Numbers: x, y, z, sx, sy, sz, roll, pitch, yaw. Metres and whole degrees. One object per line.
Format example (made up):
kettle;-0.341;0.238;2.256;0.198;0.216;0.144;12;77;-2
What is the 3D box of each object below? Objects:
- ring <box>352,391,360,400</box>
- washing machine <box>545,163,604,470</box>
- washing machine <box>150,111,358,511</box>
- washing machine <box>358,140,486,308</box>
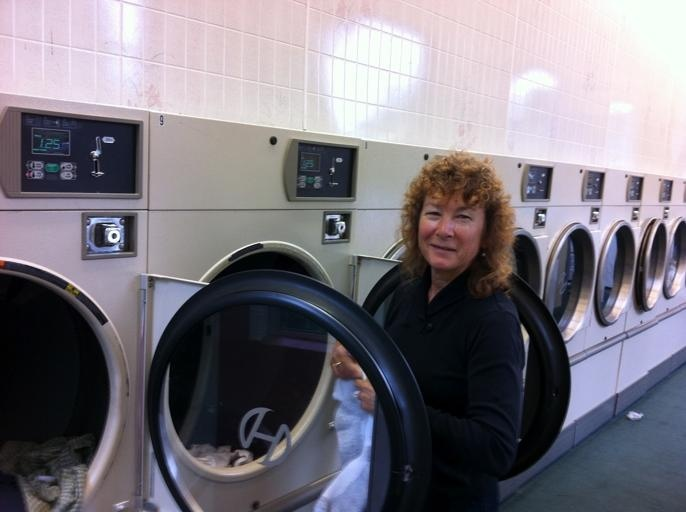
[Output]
ring;0.036;0.380;1.345;0.008;0.025;0.017;-5;8;-31
washing machine;1.634;0.025;3.482;0.263;1.293;0.835;7;10;31
washing machine;-0.309;0.194;1.735;0.659;1.300;0.875;3;9;4
washing machine;0.336;-0.057;1.697;0.411;0.737;0.420;-2;-13;25
